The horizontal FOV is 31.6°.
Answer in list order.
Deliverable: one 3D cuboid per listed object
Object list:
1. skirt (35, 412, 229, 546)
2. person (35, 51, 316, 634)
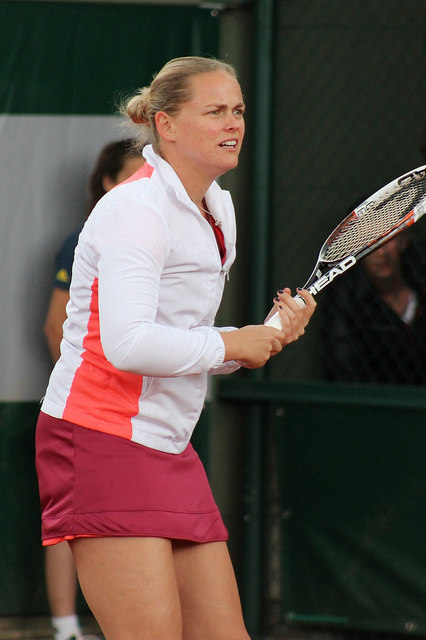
[{"bbox_3d":[-0.208,0.366,1.864,0.535,0.339,0.317,2,-5,-25],"label":"skirt"},{"bbox_3d":[-0.138,0.092,1.808,0.520,1.391,0.690,6,20,25],"label":"person"}]
